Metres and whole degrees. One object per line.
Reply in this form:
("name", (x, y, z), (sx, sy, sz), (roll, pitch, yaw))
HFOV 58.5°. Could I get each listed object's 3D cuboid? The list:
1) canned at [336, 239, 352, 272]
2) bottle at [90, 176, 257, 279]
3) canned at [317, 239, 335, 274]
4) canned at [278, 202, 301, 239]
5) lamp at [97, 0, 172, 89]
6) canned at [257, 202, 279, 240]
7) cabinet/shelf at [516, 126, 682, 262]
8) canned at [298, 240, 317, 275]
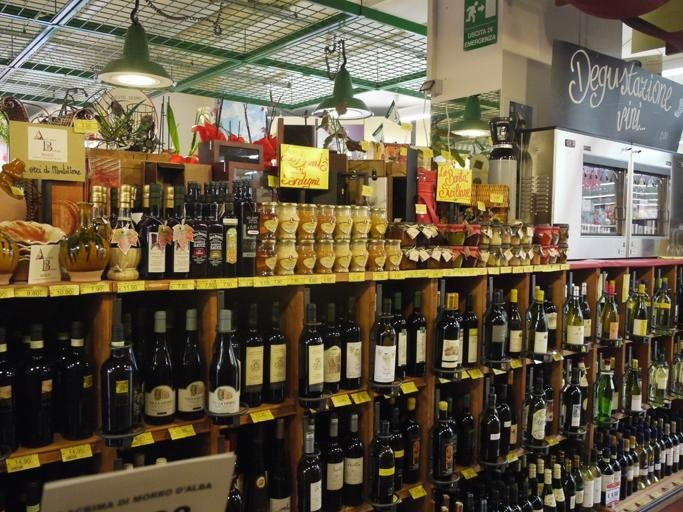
("canned", (0.012, -0.001, 3.759), (0.106, 0.145, 0.057), (-1, 0, -12))
("bottle", (-0.853, -0.141, 3.315), (0.803, 0.455, 0.170), (-1, 0, -21))
("canned", (-0.086, 0.005, 3.704), (0.143, 0.148, 0.069), (-1, 1, -43))
("canned", (-0.303, -0.197, 3.649), (0.171, 0.265, 0.172), (-1, 4, -6))
("lamp", (-1.955, -1.915, 5.780), (0.663, 0.771, 0.650), (0, 1, 35))
("canned", (-0.418, -0.199, 3.478), (0.130, 0.168, 0.085), (-1, 0, -20))
("cabinet/shelf", (2.173, -0.501, 5.263), (1.262, 0.785, 0.435), (1, -1, -38))
("canned", (-0.204, 0.005, 3.636), (0.130, 0.150, 0.066), (-1, 0, -21))
